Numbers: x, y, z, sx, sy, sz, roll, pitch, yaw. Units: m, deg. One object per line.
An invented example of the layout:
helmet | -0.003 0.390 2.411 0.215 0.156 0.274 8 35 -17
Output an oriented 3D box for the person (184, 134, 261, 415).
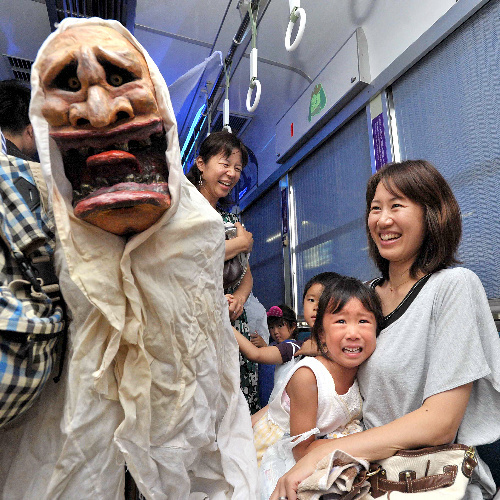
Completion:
person | -0.118 0.069 1.649 0.267 1.209 0.584 -2 -9 0
